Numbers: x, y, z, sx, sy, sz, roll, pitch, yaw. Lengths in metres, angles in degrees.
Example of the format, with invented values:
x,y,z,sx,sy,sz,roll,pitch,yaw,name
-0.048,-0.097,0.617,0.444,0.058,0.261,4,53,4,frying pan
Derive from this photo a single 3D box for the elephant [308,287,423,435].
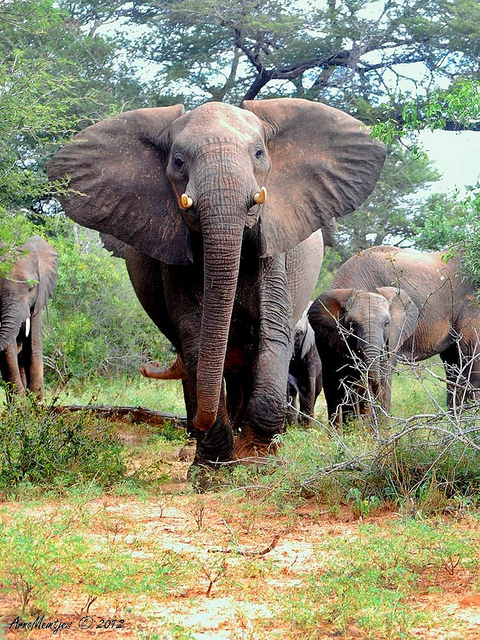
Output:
x,y,z,sx,sy,sz,roll,pitch,yaw,name
1.562,0.350,9.006,1.487,1.635,2.807,-2,8,3,elephant

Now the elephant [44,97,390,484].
x,y,z,sx,sy,sz,roll,pitch,yaw,name
-0.122,-0.293,5.062,2.329,2.898,2.407,-1,-3,11,elephant
